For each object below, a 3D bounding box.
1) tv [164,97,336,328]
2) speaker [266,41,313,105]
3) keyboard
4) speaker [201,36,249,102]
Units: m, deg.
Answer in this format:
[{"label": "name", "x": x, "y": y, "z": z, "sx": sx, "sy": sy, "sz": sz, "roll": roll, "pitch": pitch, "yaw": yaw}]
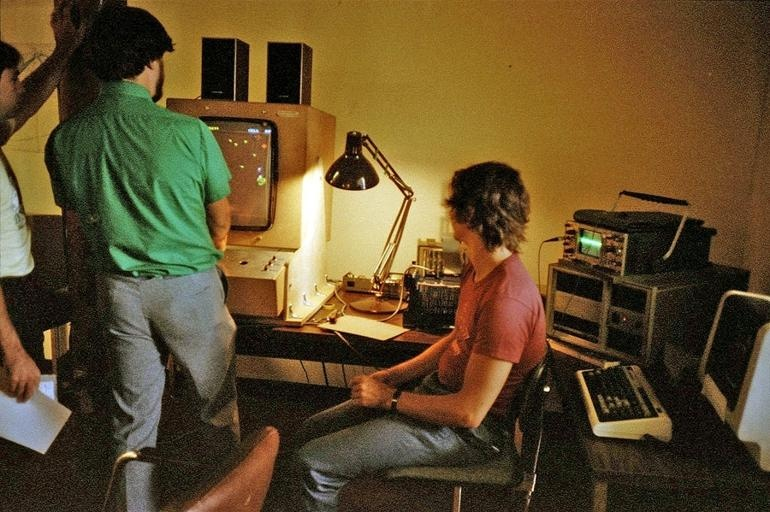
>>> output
[{"label": "tv", "x": -0.480, "y": -0.177, "z": 2.049, "sx": 0.683, "sy": 0.630, "sz": 0.562, "roll": 5, "pitch": 14, "yaw": 0}, {"label": "speaker", "x": -0.315, "y": -0.604, "z": 2.027, "sx": 0.154, "sy": 0.199, "sz": 0.140, "roll": 2, "pitch": 14, "yaw": -7}, {"label": "keyboard", "x": 0.621, "y": 0.377, "z": 1.590, "sx": 0.191, "sy": 0.069, "sz": 0.255, "roll": -6, "pitch": 22, "yaw": 8}, {"label": "speaker", "x": -0.535, "y": -0.606, "z": 2.037, "sx": 0.124, "sy": 0.181, "sz": 0.148, "roll": 4, "pitch": 6, "yaw": 3}]
